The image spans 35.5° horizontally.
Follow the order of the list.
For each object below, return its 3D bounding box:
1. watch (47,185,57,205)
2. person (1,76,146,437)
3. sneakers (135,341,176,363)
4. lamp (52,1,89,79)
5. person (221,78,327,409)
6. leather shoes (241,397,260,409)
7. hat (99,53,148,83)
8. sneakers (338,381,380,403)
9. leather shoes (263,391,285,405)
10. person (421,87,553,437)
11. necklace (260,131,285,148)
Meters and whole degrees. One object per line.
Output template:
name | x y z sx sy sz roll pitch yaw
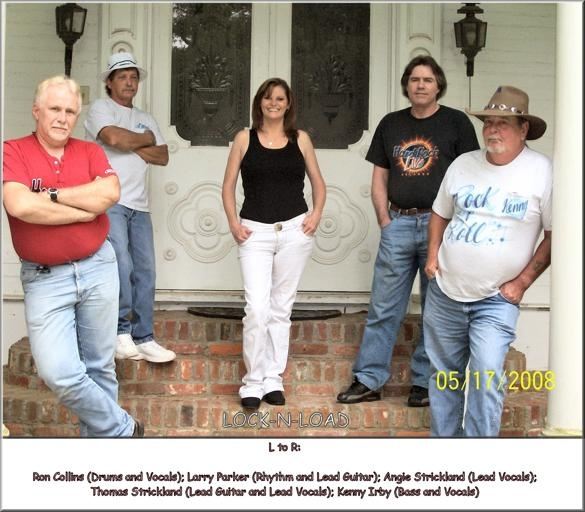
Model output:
watch | -1.297 -0.335 4.967 0.059 0.067 0.073 5 31 -13
person | -1.255 0.061 5.204 0.705 2.117 0.482 -4 14 -20
sneakers | -0.938 0.657 6.320 0.296 0.119 0.117 4 9 13
lamp | -1.698 -1.654 7.004 0.238 0.545 0.142 1 13 -1
person | -0.098 -0.096 6.013 0.690 2.092 0.689 -1 13 -7
leather shoes | -0.264 0.949 5.935 0.126 0.084 0.100 -2 13 -12
hat | -1.175 -1.304 6.364 0.259 0.127 0.244 -17 -6 39
sneakers | 0.439 0.926 6.216 0.337 0.153 0.111 4 -8 -20
leather shoes | -0.121 0.928 6.031 0.145 0.085 0.112 1 13 -1
person | 1.148 0.057 5.399 0.614 2.077 0.754 -4 14 -19
necklace | -0.127 -0.770 6.063 0.130 0.110 0.029 -3 -18 -7
